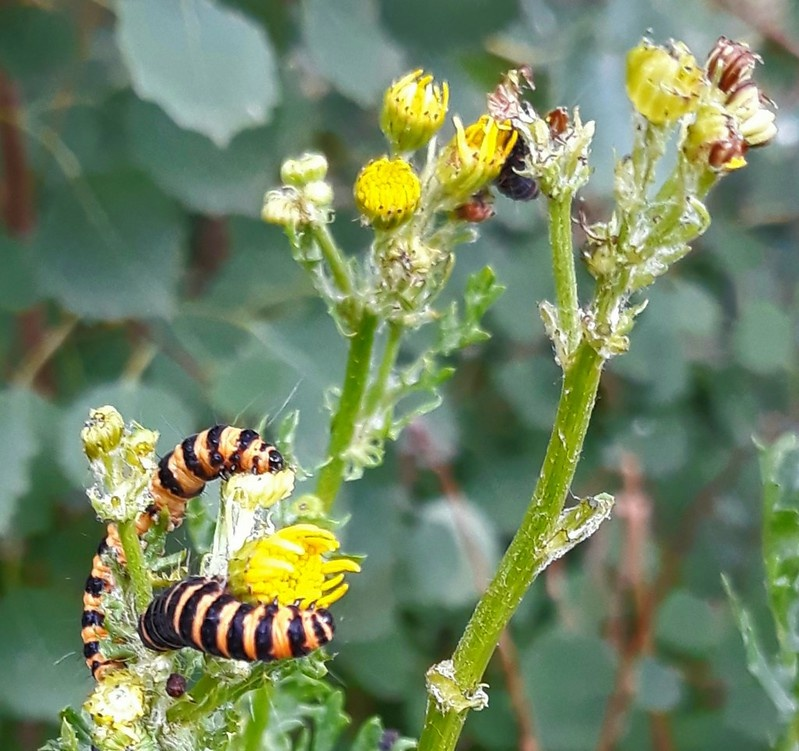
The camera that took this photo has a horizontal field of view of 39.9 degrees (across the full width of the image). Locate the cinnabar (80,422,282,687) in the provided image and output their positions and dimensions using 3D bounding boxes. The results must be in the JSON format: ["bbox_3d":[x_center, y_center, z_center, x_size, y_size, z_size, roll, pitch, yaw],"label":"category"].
[{"bbox_3d":[-0.176,0.117,0.866,0.125,0.043,0.224,37,92,-24],"label":"cinnabar"}]

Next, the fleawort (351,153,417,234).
[{"bbox_3d":[-0.008,-0.145,0.872,0.055,0.040,0.052,-35,83,-9],"label":"fleawort"}]

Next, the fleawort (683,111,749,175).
[{"bbox_3d":[0.213,-0.161,0.753,0.031,0.019,0.049,-12,70,5],"label":"fleawort"}]

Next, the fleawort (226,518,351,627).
[{"bbox_3d":[-0.074,0.129,0.747,0.065,0.035,0.062,32,63,-2],"label":"fleawort"}]

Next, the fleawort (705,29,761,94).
[{"bbox_3d":[0.228,-0.222,0.765,0.029,0.038,0.035,-29,66,-21],"label":"fleawort"}]

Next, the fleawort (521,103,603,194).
[{"bbox_3d":[0.112,-0.165,0.801,0.056,0.024,0.070,8,79,-2],"label":"fleawort"}]
